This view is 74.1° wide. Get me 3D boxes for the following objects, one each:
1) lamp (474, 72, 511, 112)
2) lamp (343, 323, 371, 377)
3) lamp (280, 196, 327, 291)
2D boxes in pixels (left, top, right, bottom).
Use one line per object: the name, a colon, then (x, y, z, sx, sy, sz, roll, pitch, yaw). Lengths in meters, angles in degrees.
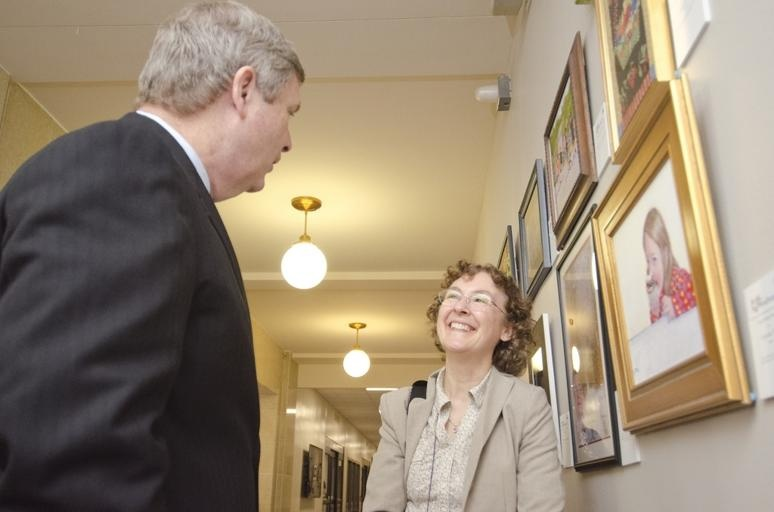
lamp: (0.763, -1.166, 3.554, 0.156, 0.165, 0.167, 14, -61, 25)
lamp: (-0.508, 1.612, 8.676, 0.423, 0.921, 0.434, -7, -13, 38)
lamp: (-0.840, -0.102, 5.250, 0.436, 0.958, 0.454, -12, -18, 40)
